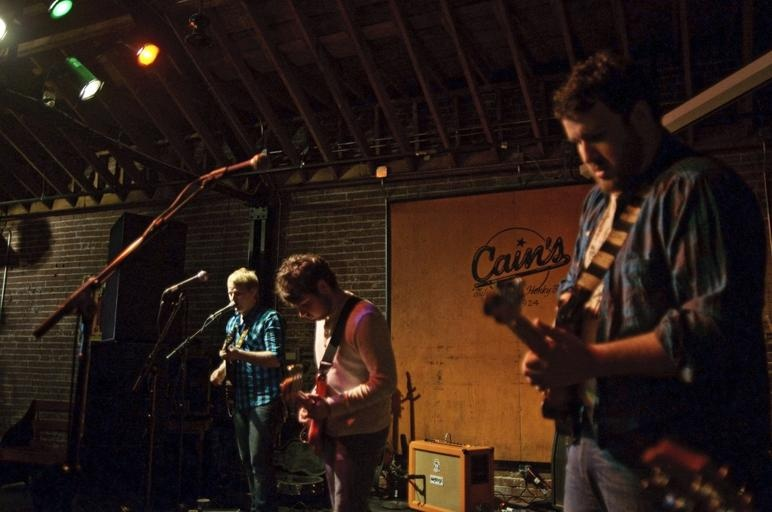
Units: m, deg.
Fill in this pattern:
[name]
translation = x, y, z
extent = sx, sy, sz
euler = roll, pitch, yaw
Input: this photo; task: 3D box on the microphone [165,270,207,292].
[microphone]
translation = -2.256, 0.271, 8.042
extent = 0.598, 0.122, 0.127
euler = -21, -70, 29
